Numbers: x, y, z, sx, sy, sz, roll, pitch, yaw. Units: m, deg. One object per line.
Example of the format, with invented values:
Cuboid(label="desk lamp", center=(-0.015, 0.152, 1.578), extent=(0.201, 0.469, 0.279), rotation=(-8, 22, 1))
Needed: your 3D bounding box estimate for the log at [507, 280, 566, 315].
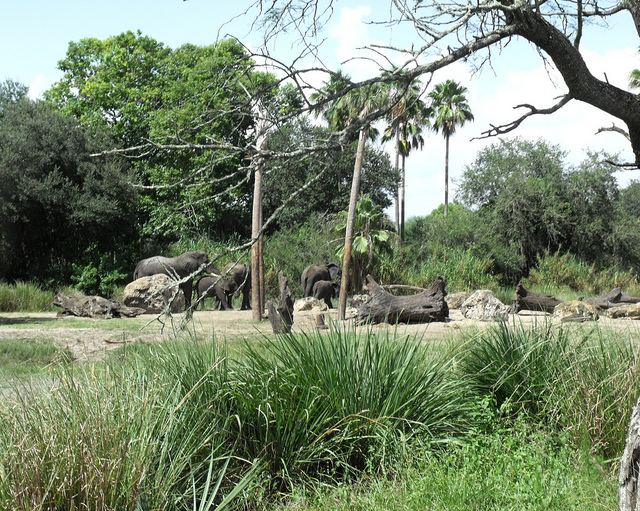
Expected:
Cuboid(label="log", center=(6.398, 1.209, 18.323), extent=(1.988, 1.317, 0.538), rotation=(4, -5, 5))

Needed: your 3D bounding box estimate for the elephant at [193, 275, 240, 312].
Cuboid(label="elephant", center=(-3.058, 1.076, 18.789), extent=(1.621, 1.130, 0.641), rotation=(-3, 19, -13))

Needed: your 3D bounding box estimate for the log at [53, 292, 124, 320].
Cuboid(label="log", center=(-6.377, 1.425, 16.956), extent=(1.153, 0.503, 0.906), rotation=(3, -4, 17))

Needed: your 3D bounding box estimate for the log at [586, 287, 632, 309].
Cuboid(label="log", center=(8.362, 1.233, 18.270), extent=(0.724, 0.416, 0.545), rotation=(-3, -2, -13))

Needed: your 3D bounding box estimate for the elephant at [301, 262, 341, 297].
Cuboid(label="elephant", center=(-0.008, 0.769, 18.704), extent=(0.968, 1.191, 1.605), rotation=(2, -1, 35))

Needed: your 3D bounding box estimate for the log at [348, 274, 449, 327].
Cuboid(label="log", center=(2.009, 1.130, 14.397), extent=(1.920, 1.376, 1.320), rotation=(-4, -7, -2))

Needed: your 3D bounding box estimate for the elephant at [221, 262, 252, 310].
Cuboid(label="elephant", center=(-2.825, 1.072, 19.559), extent=(0.768, 1.333, 1.813), rotation=(-3, -3, 11))

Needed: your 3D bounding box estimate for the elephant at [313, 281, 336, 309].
Cuboid(label="elephant", center=(0.100, 1.110, 17.809), extent=(0.594, 0.763, 1.165), rotation=(2, -3, 1))

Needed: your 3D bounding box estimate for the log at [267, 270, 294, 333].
Cuboid(label="log", center=(-0.982, 1.071, 14.982), extent=(0.451, 1.440, 0.502), rotation=(-20, -50, 18))
